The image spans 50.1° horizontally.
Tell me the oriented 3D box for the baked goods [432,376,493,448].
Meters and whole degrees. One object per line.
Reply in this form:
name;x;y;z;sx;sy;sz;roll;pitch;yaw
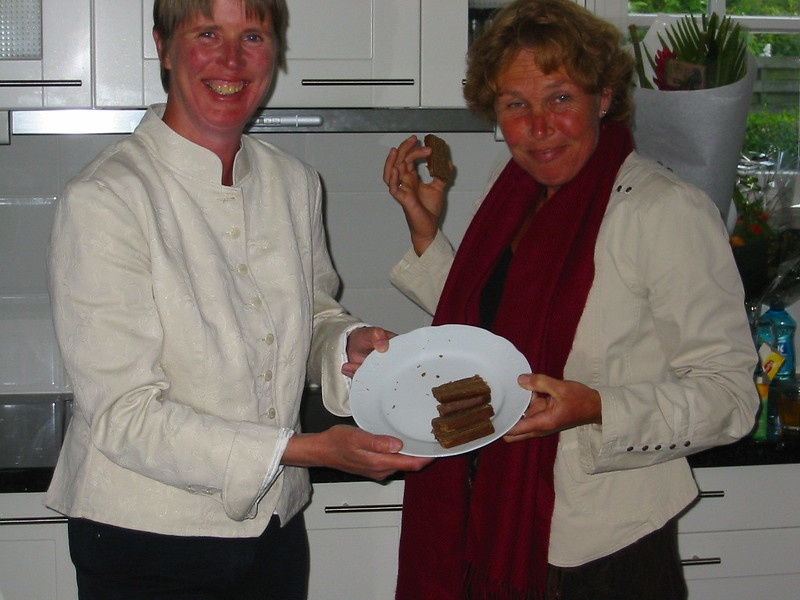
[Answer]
baked goods;0.137;0.235;1.835;0.135;0.125;0.125;0;5;-2

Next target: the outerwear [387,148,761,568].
outerwear;0.311;0.072;2.147;0.652;1.029;0.976;-7;17;-19
